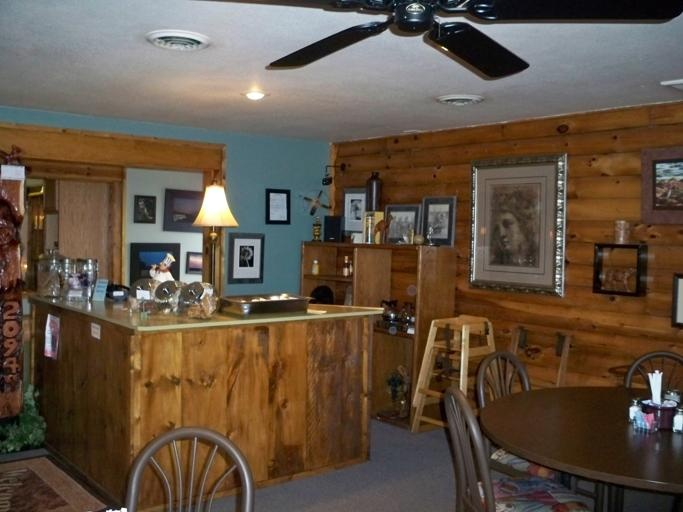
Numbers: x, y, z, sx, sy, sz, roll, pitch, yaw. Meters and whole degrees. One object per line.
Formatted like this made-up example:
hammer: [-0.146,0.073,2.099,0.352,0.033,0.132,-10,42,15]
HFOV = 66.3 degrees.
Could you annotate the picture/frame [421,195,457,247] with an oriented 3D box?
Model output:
picture/frame: [1.046,-0.363,5.596,0.020,0.545,0.444,-6,10,-42]

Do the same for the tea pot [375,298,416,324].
tea pot: [0.622,0.514,5.681,0.233,0.276,0.423,-1,2,-35]

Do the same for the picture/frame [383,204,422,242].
picture/frame: [0.699,-0.363,5.875,0.516,0.514,0.023,0,-3,39]

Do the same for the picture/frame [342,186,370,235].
picture/frame: [0.137,-0.561,6.486,0.156,0.566,0.408,-2,6,-38]

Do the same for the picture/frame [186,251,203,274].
picture/frame: [-2.362,0.099,8.297,0.406,0.360,0.040,1,0,-44]

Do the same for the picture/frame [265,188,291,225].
picture/frame: [-0.803,-0.617,6.433,0.501,0.507,0.041,-3,5,-36]

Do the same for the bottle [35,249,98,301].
bottle: [-2.413,0.180,4.479,0.623,0.406,0.334,1,1,21]

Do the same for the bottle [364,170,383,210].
bottle: [0.381,-0.755,6.112,0.190,0.463,0.263,2,5,5]

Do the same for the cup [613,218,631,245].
cup: [2.362,-0.203,4.374,0.120,0.197,0.104,5,6,39]

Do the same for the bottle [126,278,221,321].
bottle: [-1.242,0.296,3.785,0.740,0.242,0.345,4,4,33]

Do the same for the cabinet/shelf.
cabinet/shelf: [0.437,0.776,4.982,0.688,1.841,1.991,5,0,-39]
